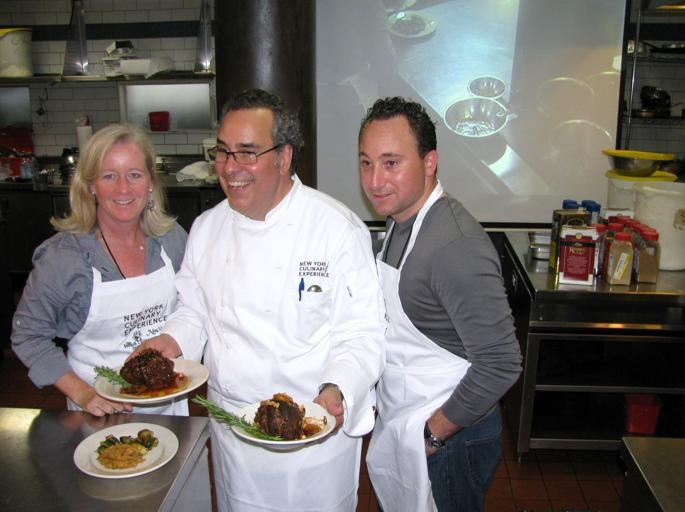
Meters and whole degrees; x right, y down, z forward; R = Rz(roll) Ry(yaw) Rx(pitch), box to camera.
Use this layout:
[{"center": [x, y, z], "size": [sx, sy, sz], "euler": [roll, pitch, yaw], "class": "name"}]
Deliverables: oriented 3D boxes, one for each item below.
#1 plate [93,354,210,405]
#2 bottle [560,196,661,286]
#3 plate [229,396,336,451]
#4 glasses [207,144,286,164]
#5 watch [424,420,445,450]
[{"center": [-0.721, 0.478, 1.938], "size": [0.411, 0.051, 0.285], "euler": [-5, 14, -19], "class": "plate"}, {"center": [1.633, -0.083, 3.278], "size": [0.585, 0.432, 0.465], "euler": [1, 13, 7], "class": "bottle"}, {"center": [-0.191, 0.576, 1.735], "size": [0.237, 0.051, 0.237], "euler": [8, 18, 19], "class": "plate"}, {"center": [-0.386, -0.420, 2.111], "size": [0.273, 0.077, 0.107], "euler": [0, 13, 2], "class": "glasses"}, {"center": [0.369, 0.732, 2.107], "size": [0.076, 0.105, 0.057], "euler": [1, -24, -15], "class": "watch"}]
